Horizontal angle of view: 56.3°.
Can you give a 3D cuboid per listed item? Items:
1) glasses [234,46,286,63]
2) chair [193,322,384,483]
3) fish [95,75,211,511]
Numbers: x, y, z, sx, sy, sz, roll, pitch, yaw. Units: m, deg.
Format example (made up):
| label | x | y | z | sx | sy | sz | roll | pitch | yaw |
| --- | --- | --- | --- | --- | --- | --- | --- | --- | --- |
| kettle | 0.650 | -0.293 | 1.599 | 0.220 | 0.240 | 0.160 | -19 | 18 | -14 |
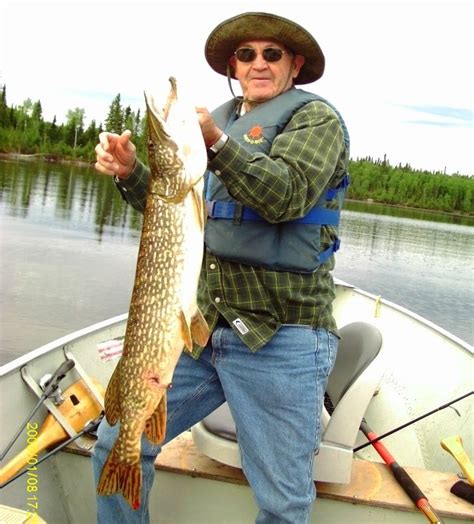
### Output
| label | x | y | z | sx | sy | sz | roll | pitch | yaw |
| --- | --- | --- | --- | --- | --- | --- | --- | --- | --- |
| glasses | 0.096 | -0.890 | 1.896 | 0.123 | 0.033 | 0.111 | 1 | 3 | 4 |
| chair | 0.280 | 0.683 | 2.379 | 0.917 | 0.737 | 0.628 | 9 | 10 | 0 |
| fish | -0.261 | 0.169 | 1.500 | 0.350 | 1.484 | 0.224 | 9 | 7 | 1 |
